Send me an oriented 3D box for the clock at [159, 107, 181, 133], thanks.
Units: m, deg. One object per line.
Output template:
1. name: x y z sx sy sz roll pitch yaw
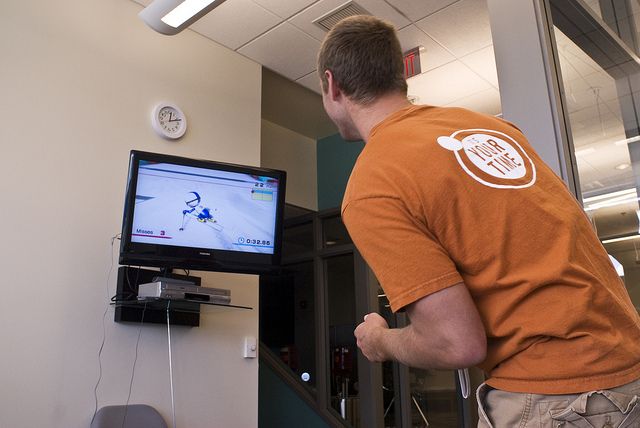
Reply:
1. clock: -1.131 -0.715 3.752 0.024 0.163 0.177 -19 -34 39
